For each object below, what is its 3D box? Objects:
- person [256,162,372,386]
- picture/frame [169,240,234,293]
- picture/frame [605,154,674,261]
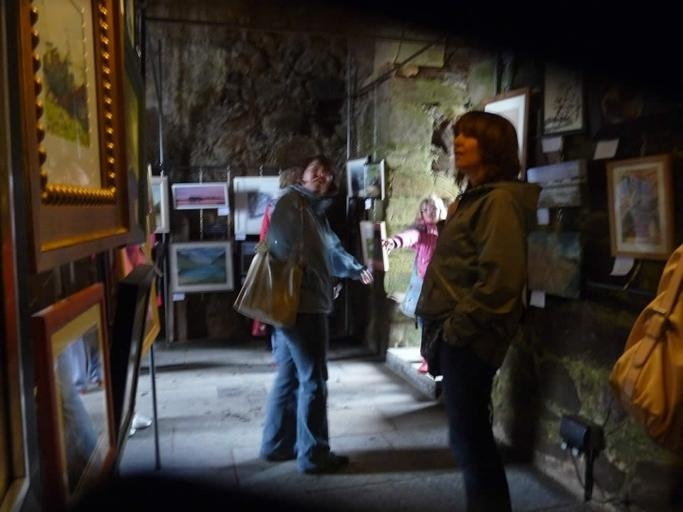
[{"bbox_3d":[-0.098,0.253,2.141,0.403,1.267,0.214,-2,13,-8],"label":"person"},{"bbox_3d":[-0.715,0.045,2.760,0.240,0.216,0.019,-4,11,-26],"label":"picture/frame"},{"bbox_3d":[0.939,-0.153,1.747,0.046,0.341,0.256,-4,14,-19],"label":"picture/frame"}]
